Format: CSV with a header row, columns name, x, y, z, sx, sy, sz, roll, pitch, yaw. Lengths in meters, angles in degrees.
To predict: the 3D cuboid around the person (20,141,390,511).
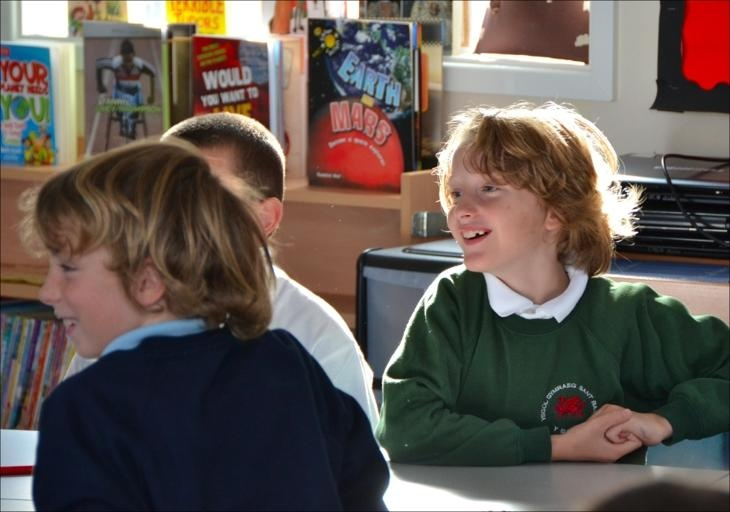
name,x,y,z,sx,sy,sz,roll,pitch,yaw
person,-0.259,0.095,1.693,0.539,0.820,0.525,-6,0,15
